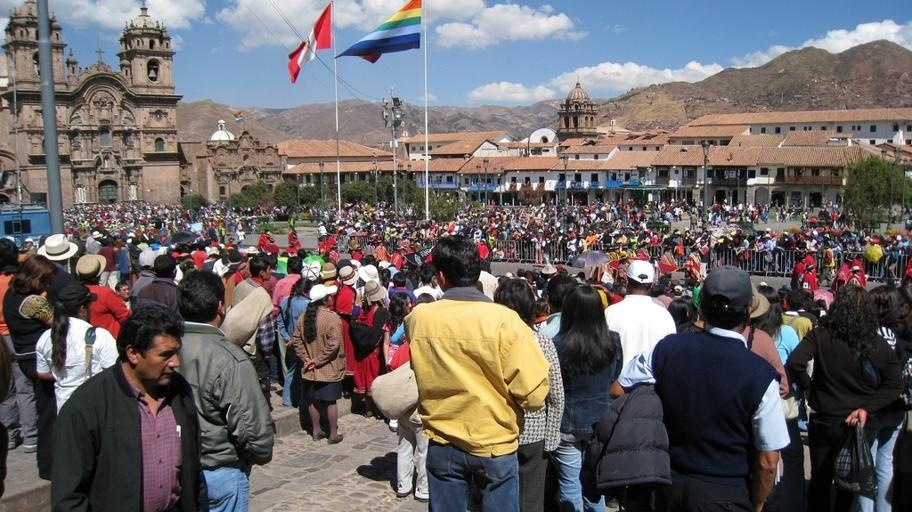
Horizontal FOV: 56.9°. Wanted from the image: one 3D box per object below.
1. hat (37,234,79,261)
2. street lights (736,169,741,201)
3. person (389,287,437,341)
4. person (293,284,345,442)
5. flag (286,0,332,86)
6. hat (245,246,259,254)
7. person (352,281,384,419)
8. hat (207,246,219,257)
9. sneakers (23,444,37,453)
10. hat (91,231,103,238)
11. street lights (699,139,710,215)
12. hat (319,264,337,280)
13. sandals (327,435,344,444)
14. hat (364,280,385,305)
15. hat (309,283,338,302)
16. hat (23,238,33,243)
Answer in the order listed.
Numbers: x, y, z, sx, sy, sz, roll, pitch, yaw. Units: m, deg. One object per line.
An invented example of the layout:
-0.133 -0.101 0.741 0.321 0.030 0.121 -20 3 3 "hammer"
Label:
-7.280 -0.142 15.393 0.503 0.179 0.519 19 33 9 "hat"
24.026 -6.019 71.945 0.239 2.723 0.638 -2 3 -11 "street lights"
-0.695 0.952 13.551 0.350 0.870 0.666 11 -3 -40 "person"
-2.179 1.741 13.674 0.785 2.549 0.652 0 3 12 "person"
-4.517 -6.550 25.892 0.993 2.096 1.805 -3 4 -34 "flag"
-4.712 -0.131 19.425 0.317 0.081 0.313 3 6 7 "hat"
-1.457 1.380 14.062 0.626 1.889 0.657 -2 3 -8 "person"
-5.696 -0.109 19.726 0.340 0.148 0.429 3 3 -14 "hat"
-6.403 2.879 12.613 0.163 0.105 0.160 0 -6 -2 "sneakers"
-9.847 -0.570 23.036 0.323 0.093 0.318 5 11 7 "hat"
12.453 -3.813 41.887 0.712 3.832 0.659 0 2 10 "street lights"
-2.311 0.270 15.142 0.301 0.273 0.382 -1 3 -6 "hat"
-1.965 2.960 13.618 0.114 0.097 0.224 15 27 33 "sandals"
-1.385 0.611 14.295 0.354 0.194 0.364 -21 20 8 "hat"
-2.139 0.602 13.568 0.376 0.131 0.248 -21 31 -16 "hat"
-13.033 -0.465 25.585 0.331 0.095 0.322 3 0 -21 "hat"
